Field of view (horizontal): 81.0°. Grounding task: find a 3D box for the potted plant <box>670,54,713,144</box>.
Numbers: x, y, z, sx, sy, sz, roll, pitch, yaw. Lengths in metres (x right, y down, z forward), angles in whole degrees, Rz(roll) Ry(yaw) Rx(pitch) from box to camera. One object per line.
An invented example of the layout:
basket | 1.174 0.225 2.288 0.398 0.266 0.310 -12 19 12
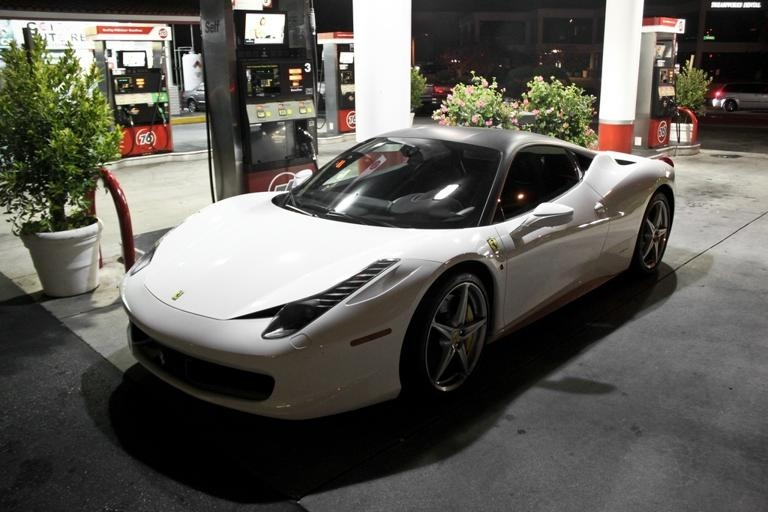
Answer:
potted plant | 10.849 -5.986 16.254 1.294 2.273 0.990 15 24 40

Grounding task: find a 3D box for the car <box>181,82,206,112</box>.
car | -10.883 -8.974 25.889 0.714 1.376 2.803 -14 25 -34
